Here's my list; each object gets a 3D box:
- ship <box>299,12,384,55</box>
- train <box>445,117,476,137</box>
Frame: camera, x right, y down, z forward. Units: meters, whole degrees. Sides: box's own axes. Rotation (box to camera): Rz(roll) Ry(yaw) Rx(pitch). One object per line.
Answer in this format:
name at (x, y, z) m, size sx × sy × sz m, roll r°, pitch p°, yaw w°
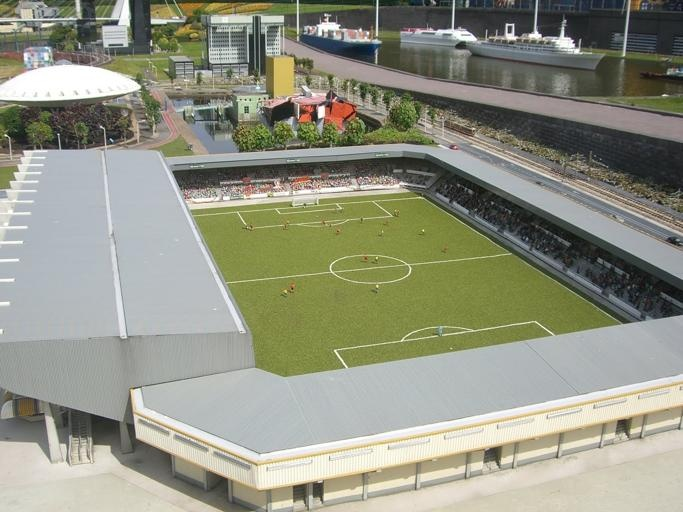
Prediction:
ship at (-2.205, -111.145, 304.184) m, size 15.696 × 16.734 × 56.257 m, roll -22°, pitch 34°, yaw -30°
train at (29.437, -32.923, 155.770) m, size 3.595 × 2.718 × 11.602 m, roll -19°, pitch 33°, yaw -23°
